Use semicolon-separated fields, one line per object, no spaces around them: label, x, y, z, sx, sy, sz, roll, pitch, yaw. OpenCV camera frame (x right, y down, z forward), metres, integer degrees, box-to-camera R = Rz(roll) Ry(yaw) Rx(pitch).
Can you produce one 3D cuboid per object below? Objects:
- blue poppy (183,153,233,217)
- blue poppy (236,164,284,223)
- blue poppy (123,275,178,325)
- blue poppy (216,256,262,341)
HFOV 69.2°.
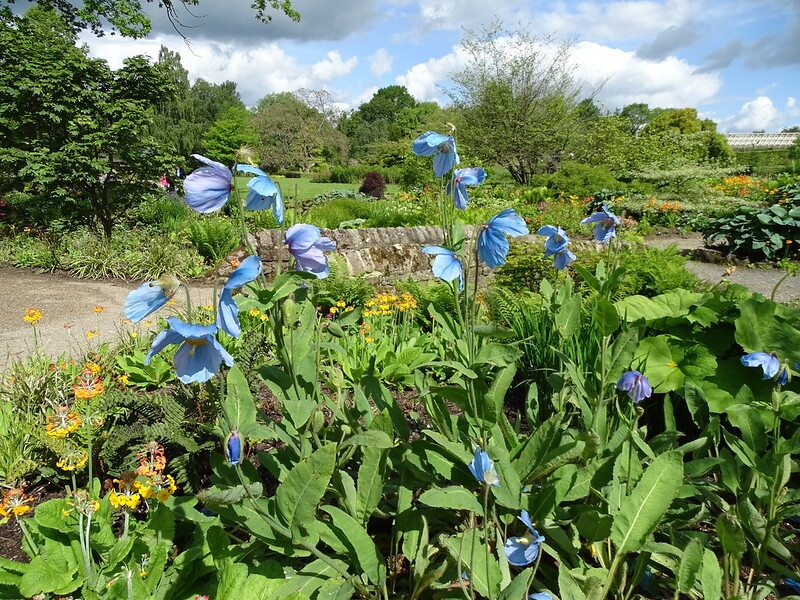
blue poppy;-0.769;-0.507;2.432;0.229;0.291;0.302;0;9;-13
blue poppy;-0.574;-0.482;2.445;0.113;0.144;0.199;-2;-14;28
blue poppy;-0.996;-0.002;2.333;0.214;0.200;0.195;-8;13;-19
blue poppy;-0.649;-0.005;2.318;0.193;0.349;0.300;-7;13;-17
